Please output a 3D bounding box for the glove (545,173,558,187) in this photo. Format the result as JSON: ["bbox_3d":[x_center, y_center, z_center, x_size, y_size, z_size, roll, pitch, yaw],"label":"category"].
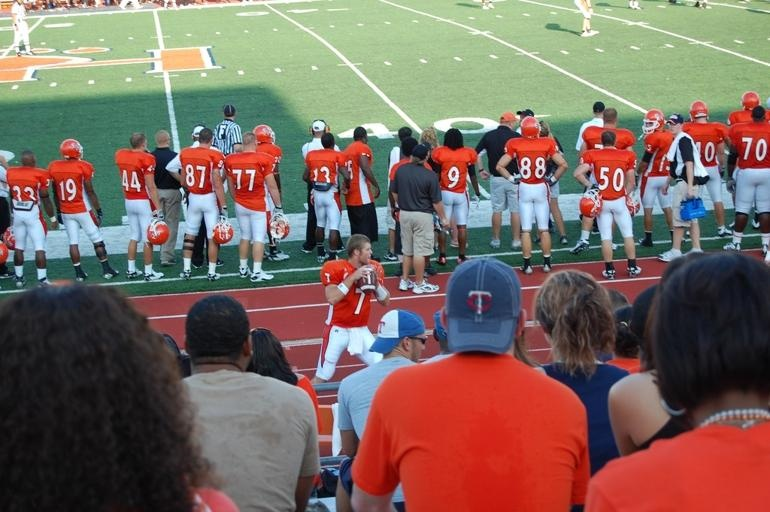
[{"bbox_3d":[1.949,-0.891,10.019,0.086,0.094,0.233,14,23,23],"label":"glove"}]

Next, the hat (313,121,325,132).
[{"bbox_3d":[-0.831,-1.598,10.516,0.177,0.152,0.237,-4,3,-2],"label":"hat"}]

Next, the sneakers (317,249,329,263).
[{"bbox_3d":[-0.777,-0.009,10.568,0.089,0.177,0.254,3,33,14],"label":"sneakers"}]

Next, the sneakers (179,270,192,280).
[{"bbox_3d":[-2.377,0.228,10.080,0.073,0.090,0.208,-4,14,-19],"label":"sneakers"}]

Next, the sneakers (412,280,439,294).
[{"bbox_3d":[0.432,0.347,9.662,0.344,0.152,0.130,-4,20,-3],"label":"sneakers"}]

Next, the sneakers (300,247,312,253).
[{"bbox_3d":[-1.031,-0.067,10.925,0.056,0.072,0.131,11,3,36],"label":"sneakers"}]

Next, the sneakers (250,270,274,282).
[{"bbox_3d":[-1.463,0.236,10.010,0.223,0.101,0.129,-3,9,-9],"label":"sneakers"}]

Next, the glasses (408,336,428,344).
[{"bbox_3d":[0.197,0.538,5.453,0.099,0.028,0.094,5,0,22],"label":"glasses"}]

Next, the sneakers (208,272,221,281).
[{"bbox_3d":[-2.039,0.255,10.078,0.066,0.081,0.190,-3,-12,-9],"label":"sneakers"}]

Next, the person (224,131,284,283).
[{"bbox_3d":[-1.516,-0.550,9.901,0.618,1.712,0.500,-4,4,12],"label":"person"}]

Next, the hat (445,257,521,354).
[{"bbox_3d":[0.363,0.149,3.229,0.305,0.229,0.462,4,34,14],"label":"hat"}]

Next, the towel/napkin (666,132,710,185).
[{"bbox_3d":[3.404,-1.098,9.742,0.560,0.690,0.646,0,15,21],"label":"towel/napkin"}]

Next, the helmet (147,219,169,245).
[{"bbox_3d":[-2.635,-0.268,9.764,0.213,0.237,0.206,11,40,24],"label":"helmet"}]

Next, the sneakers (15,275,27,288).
[{"bbox_3d":[-4.265,0.310,9.929,0.116,0.107,0.255,-1,2,-27],"label":"sneakers"}]

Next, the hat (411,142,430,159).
[{"bbox_3d":[0.383,-1.155,9.459,0.193,0.184,0.169,-5,4,-13],"label":"hat"}]

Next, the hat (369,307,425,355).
[{"bbox_3d":[0.061,0.453,5.367,0.439,0.229,0.276,-17,10,-29],"label":"hat"}]

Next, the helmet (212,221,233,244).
[{"bbox_3d":[-1.880,-0.272,9.721,0.226,0.257,0.275,-5,4,-12],"label":"helmet"}]

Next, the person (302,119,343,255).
[{"bbox_3d":[-0.760,-0.823,10.837,0.660,1.866,0.585,10,32,12],"label":"person"}]

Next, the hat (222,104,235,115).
[{"bbox_3d":[-2.140,-1.978,11.615,0.126,0.184,0.463,-5,3,-7],"label":"hat"}]

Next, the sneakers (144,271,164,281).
[{"bbox_3d":[-2.755,0.251,10.132,0.254,0.106,0.093,-6,18,-23],"label":"sneakers"}]

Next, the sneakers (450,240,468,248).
[{"bbox_3d":[0.924,-0.145,10.720,0.222,0.149,0.081,3,11,34],"label":"sneakers"}]

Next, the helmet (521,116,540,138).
[{"bbox_3d":[1.645,-1.471,9.833,0.217,0.241,0.259,1,35,4],"label":"helmet"}]

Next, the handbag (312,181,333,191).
[{"bbox_3d":[-0.758,-0.829,10.199,0.228,0.117,0.151,-4,3,-4],"label":"handbag"}]

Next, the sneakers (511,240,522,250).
[{"bbox_3d":[1.667,-0.135,10.828,0.144,0.085,0.071,-4,5,44],"label":"sneakers"}]

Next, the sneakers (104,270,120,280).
[{"bbox_3d":[-3.289,0.233,10.142,0.076,0.084,0.196,11,26,28],"label":"sneakers"}]

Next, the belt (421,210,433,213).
[{"bbox_3d":[0.455,-0.488,9.430,0.130,0.054,0.021,-6,4,-35],"label":"belt"}]

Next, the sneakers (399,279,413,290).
[{"bbox_3d":[0.221,0.323,9.717,0.078,0.086,0.197,10,19,27],"label":"sneakers"}]

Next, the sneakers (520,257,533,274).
[{"bbox_3d":[1.642,0.106,9.998,0.094,0.138,0.199,0,22,4],"label":"sneakers"}]

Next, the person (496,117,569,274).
[{"bbox_3d":[1.709,-0.702,9.867,0.729,1.815,0.424,-5,4,-11],"label":"person"}]

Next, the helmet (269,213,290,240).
[{"bbox_3d":[-1.227,-0.343,10.101,0.247,0.288,0.297,-1,12,-26],"label":"helmet"}]

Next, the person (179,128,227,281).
[{"bbox_3d":[-2.134,-0.581,9.951,0.488,1.763,0.735,-7,5,-35],"label":"person"}]

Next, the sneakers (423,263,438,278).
[{"bbox_3d":[0.493,0.160,10.094,0.238,0.155,0.074,-4,19,-10],"label":"sneakers"}]

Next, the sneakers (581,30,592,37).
[{"bbox_3d":[5.879,-6.493,24.886,0.161,0.187,0.490,15,27,35],"label":"sneakers"}]

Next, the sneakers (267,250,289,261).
[{"bbox_3d":[-1.369,-0.003,10.772,0.244,0.097,0.127,-1,16,2],"label":"sneakers"}]

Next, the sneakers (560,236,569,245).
[{"bbox_3d":[2.298,-0.199,10.954,0.074,0.044,0.117,-2,39,1],"label":"sneakers"}]

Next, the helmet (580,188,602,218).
[{"bbox_3d":[2.301,-0.585,9.511,0.241,0.288,0.284,10,11,30],"label":"helmet"}]

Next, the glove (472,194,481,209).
[{"bbox_3d":[1.214,-0.722,11.332,0.130,0.159,0.420,2,15,7],"label":"glove"}]

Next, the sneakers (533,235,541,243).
[{"bbox_3d":[1.992,-0.202,11.245,0.068,0.068,0.180,-2,1,4],"label":"sneakers"}]

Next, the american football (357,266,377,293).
[{"bbox_3d":[-0.150,0.209,7.207,0.152,0.201,0.178,5,16,-6],"label":"american football"}]

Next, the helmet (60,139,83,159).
[{"bbox_3d":[-3.651,-1.230,9.839,0.199,0.256,0.679,-6,4,-22],"label":"helmet"}]

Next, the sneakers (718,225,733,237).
[{"bbox_3d":[4.317,-0.311,10.837,0.219,0.140,0.071,-15,29,-12],"label":"sneakers"}]

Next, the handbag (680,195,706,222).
[{"bbox_3d":[3.528,-0.537,9.822,0.323,0.318,0.193,-5,5,4],"label":"handbag"}]

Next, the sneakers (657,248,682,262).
[{"bbox_3d":[2.983,-0.008,8.976,0.123,0.126,0.279,-32,12,-21],"label":"sneakers"}]

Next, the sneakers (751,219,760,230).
[{"bbox_3d":[4.844,-0.403,11.140,0.063,0.073,0.181,7,37,17],"label":"sneakers"}]

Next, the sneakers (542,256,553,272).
[{"bbox_3d":[1.891,0.091,9.963,0.082,0.141,0.210,2,32,14],"label":"sneakers"}]

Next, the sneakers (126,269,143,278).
[{"bbox_3d":[-3.008,0.219,10.177,0.074,0.089,0.204,9,12,25],"label":"sneakers"}]

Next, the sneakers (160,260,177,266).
[{"bbox_3d":[-2.728,0.099,10.637,0.192,0.077,0.062,-15,41,-27],"label":"sneakers"}]

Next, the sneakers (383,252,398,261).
[{"bbox_3d":[0.060,0.020,10.683,0.212,0.135,0.070,2,9,15],"label":"sneakers"}]
